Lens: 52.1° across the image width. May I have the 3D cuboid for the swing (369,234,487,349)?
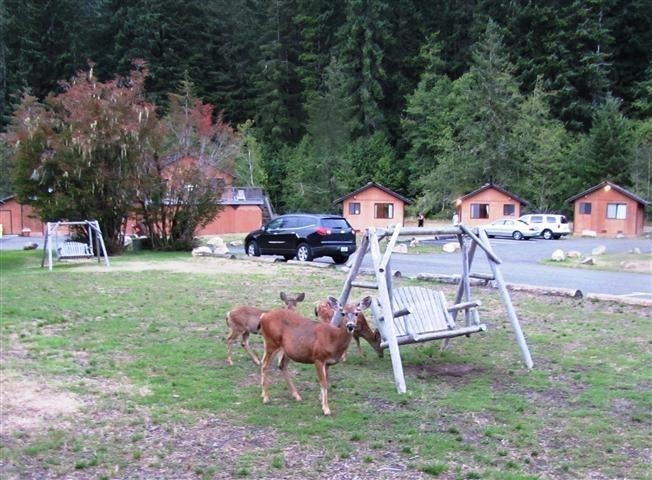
[{"bbox_3d":[1.742,0.984,12.075,2.534,2.590,1.465,-8,12,-42],"label":"swing"}]

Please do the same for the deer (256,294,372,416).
[{"bbox_3d":[-0.231,1.783,10.487,2.158,1.861,0.701,1,1,38],"label":"deer"}]

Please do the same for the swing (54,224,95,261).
[{"bbox_3d":[-10.474,0.096,27.742,1.571,1.116,0.851,0,2,-31],"label":"swing"}]

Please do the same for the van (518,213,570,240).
[{"bbox_3d":[15.294,-1.021,46.366,3.057,1.287,1.452,6,6,22],"label":"van"}]
